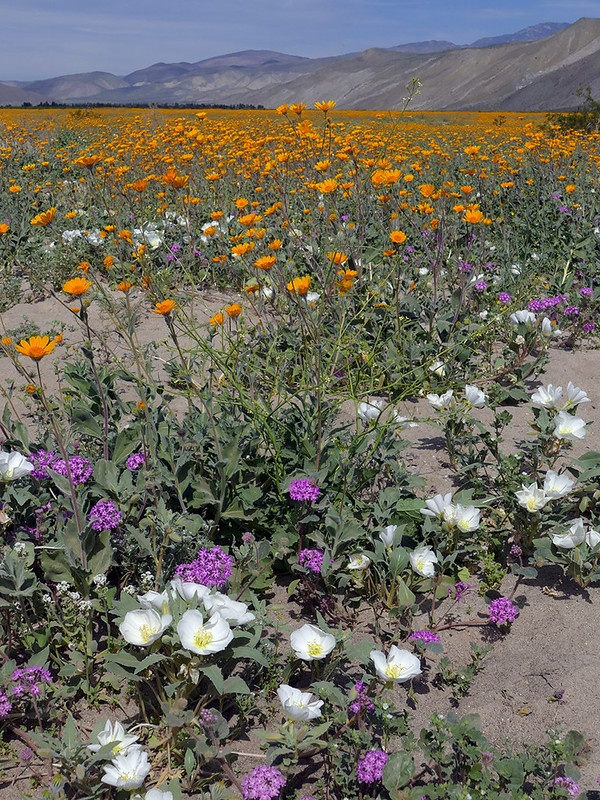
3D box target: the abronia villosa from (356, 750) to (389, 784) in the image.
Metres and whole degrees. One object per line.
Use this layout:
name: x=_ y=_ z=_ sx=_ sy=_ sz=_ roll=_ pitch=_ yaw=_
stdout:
abronia villosa: x=0.188 y=0.944 z=1.580 sx=0.079 sy=0.057 sz=0.092 roll=0 pitch=20 yaw=6

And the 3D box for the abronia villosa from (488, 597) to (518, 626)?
abronia villosa: x=0.713 y=0.753 z=2.142 sx=0.090 sy=0.086 sz=0.075 roll=15 pitch=9 yaw=-19

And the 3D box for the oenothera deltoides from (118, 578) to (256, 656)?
oenothera deltoides: x=-0.299 y=0.565 z=1.566 sx=0.249 sy=0.089 sz=0.247 roll=14 pitch=23 yaw=16

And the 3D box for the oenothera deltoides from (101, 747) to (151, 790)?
oenothera deltoides: x=-0.409 y=0.876 z=1.441 sx=0.099 sy=0.083 sz=0.091 roll=-6 pitch=21 yaw=-9

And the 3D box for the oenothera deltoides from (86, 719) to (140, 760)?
oenothera deltoides: x=-0.462 y=0.873 z=1.551 sx=0.110 sy=0.046 sz=0.098 roll=35 pitch=21 yaw=-17
